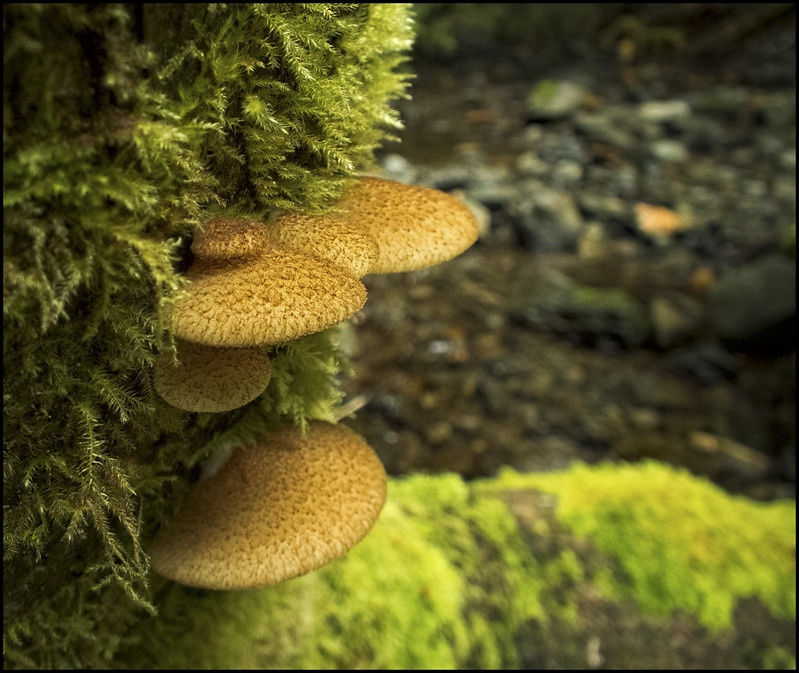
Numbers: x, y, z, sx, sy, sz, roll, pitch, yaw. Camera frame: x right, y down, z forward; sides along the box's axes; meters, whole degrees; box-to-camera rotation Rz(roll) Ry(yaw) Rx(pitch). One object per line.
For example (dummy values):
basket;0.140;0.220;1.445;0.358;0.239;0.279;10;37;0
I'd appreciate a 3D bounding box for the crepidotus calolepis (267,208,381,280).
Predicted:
crepidotus calolepis;-0.234;-0.317;2.392;0.339;0.090;0.205;16;29;-9

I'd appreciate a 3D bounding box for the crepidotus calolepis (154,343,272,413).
crepidotus calolepis;-0.595;0.100;2.320;0.363;0.183;0.247;-6;45;-7

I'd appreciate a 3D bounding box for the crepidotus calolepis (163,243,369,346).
crepidotus calolepis;-0.394;-0.128;2.238;0.569;0.134;0.357;-1;43;-2

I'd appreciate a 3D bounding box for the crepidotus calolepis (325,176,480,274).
crepidotus calolepis;0.018;-0.355;2.639;0.459;0.120;0.451;-22;50;-34
